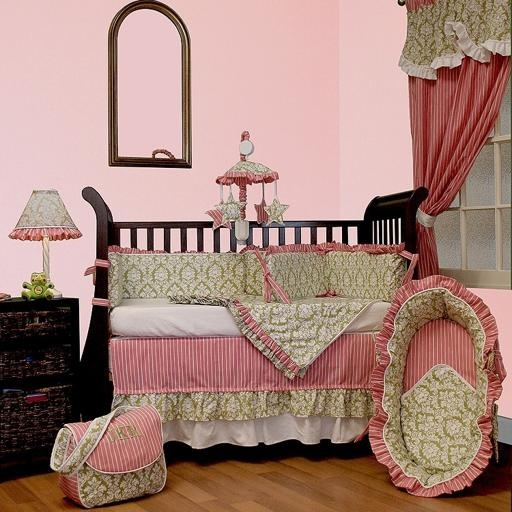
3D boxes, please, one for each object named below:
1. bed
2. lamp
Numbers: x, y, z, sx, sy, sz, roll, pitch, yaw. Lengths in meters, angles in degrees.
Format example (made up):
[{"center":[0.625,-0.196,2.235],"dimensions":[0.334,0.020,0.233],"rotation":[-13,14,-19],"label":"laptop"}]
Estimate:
[{"center":[-0.032,0.252,2.844],"dimensions":[1.500,1.109,1.037],"rotation":[0,-2,-10],"label":"bed"},{"center":[-0.921,-0.053,2.569],"dimensions":[0.309,0.471,0.322],"rotation":[-1,1,19],"label":"lamp"}]
